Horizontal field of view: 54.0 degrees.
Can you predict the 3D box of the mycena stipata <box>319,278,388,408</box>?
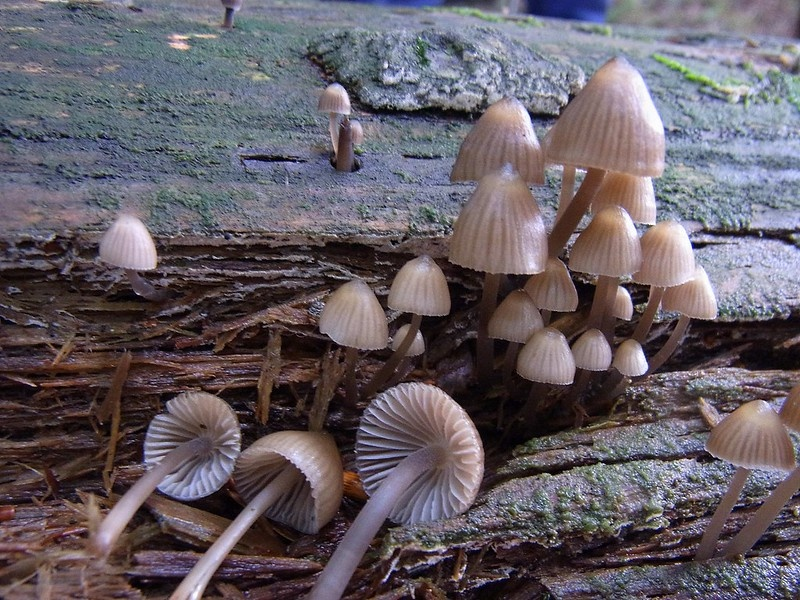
[{"bbox_3d":[-0.325,0.299,5.011,0.423,0.928,0.385,14,39,-1],"label":"mycena stipata"}]
